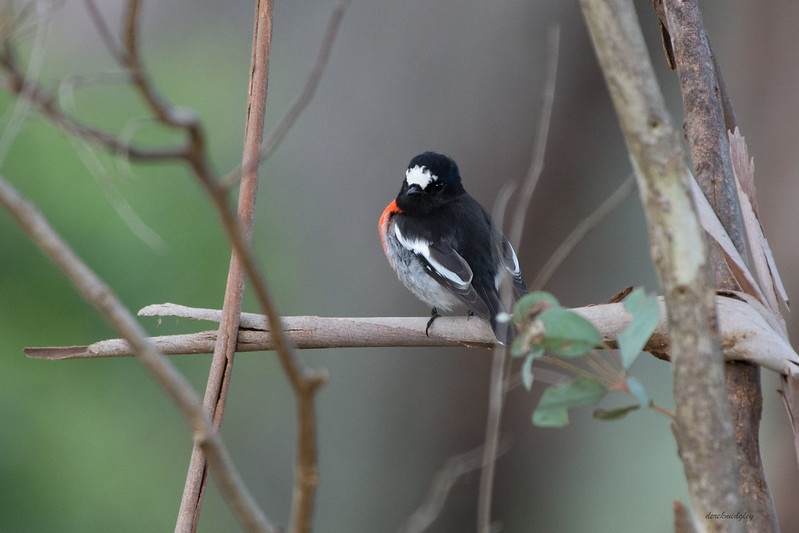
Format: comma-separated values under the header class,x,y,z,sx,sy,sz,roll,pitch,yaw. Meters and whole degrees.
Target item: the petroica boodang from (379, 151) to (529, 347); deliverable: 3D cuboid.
class,x,y,z,sx,sy,sz,roll,pitch,yaw
petroica boodang,0.352,-0.106,4.928,0.560,1.005,0.860,-12,-59,-33
